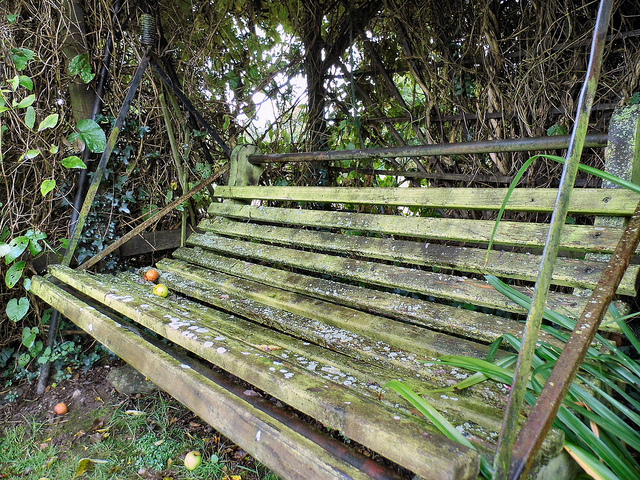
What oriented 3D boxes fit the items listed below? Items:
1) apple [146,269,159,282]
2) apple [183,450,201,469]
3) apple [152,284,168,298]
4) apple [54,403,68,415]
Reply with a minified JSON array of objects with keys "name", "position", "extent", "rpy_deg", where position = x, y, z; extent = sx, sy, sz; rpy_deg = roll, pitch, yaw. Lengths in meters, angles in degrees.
[{"name":"apple","position":[-0.904,0.186,2.281],"extent":[0.056,0.059,0.059],"rpy_deg":[12,-30,-3]},{"name":"apple","position":[-0.555,0.950,1.841],"extent":[0.051,0.066,0.052],"rpy_deg":[23,12,10]},{"name":"apple","position":[-0.761,0.239,2.029],"extent":[0.056,0.057,0.065],"rpy_deg":[33,14,-16]},{"name":"apple","position":[-1.377,0.885,2.244],"extent":[0.051,0.030,0.053],"rpy_deg":[12,15,3]}]
